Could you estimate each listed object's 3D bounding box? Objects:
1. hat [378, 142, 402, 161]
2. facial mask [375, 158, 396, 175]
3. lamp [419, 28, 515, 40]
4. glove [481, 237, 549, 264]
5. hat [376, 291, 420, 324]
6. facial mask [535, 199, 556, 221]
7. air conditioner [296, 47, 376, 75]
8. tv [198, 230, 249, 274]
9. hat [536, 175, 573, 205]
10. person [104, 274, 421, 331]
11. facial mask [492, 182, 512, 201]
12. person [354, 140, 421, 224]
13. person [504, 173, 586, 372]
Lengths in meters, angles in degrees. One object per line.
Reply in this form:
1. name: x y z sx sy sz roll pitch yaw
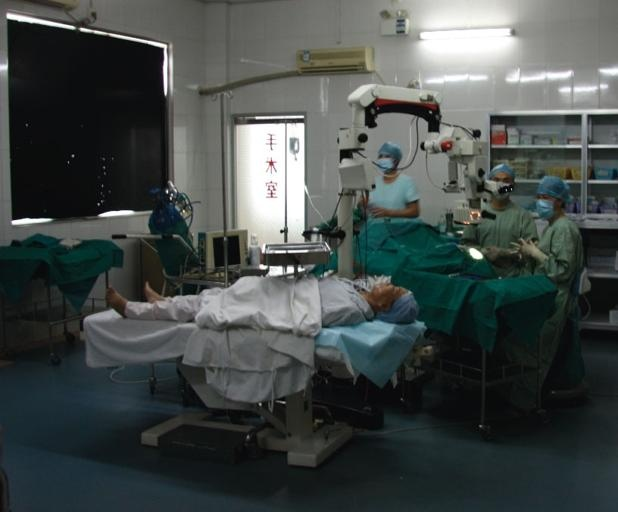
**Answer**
1. hat: 0.665 -0.886 4.846 0.143 0.164 0.191 2 19 -44
2. facial mask: 0.635 -0.742 4.770 0.220 0.130 0.189 -3 9 -17
3. lamp: 1.533 -2.163 5.594 0.912 0.105 0.194 3 9 16
4. glove: 1.362 -0.037 3.805 0.409 0.143 0.158 -2 4 -4
5. hat: 0.465 0.262 3.002 0.171 0.118 0.146 -9 -2 27
6. facial mask: 1.623 -0.318 3.952 0.117 0.089 0.112 7 3 -5
7. air conditioner: 0.261 -2.023 5.973 0.790 0.226 0.104 3 8 15
8. tv: -0.595 -0.037 4.130 0.410 0.277 0.320 -4 9 -26
9. hat: 1.689 -0.448 3.953 0.184 0.176 0.166 3 4 0
10. person: -0.206 0.262 2.958 1.008 0.223 0.645 -2 1 8
11. facial mask: 1.167 -0.392 3.487 0.135 0.096 0.148 1 -7 6
12. person: 0.705 -0.612 4.767 0.431 0.639 0.896 1 9 10
13. person: 1.582 0.108 3.785 0.455 1.233 0.673 0 8 4
